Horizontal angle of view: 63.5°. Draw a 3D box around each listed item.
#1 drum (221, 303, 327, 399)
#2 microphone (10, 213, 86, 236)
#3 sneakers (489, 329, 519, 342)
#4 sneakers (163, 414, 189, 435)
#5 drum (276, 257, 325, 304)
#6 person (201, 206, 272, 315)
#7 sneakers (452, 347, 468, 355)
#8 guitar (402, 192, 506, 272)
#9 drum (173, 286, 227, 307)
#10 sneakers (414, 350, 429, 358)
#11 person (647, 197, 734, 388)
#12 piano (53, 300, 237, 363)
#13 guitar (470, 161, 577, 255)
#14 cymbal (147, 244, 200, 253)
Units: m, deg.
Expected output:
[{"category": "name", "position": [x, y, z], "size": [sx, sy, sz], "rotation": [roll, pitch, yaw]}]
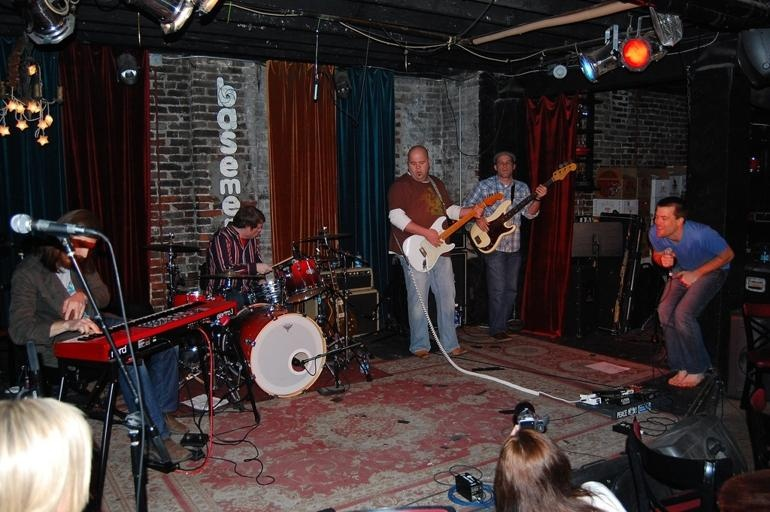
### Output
[{"category": "drum", "position": [-1.082, 0.800, 5.686], "size": [0.691, 0.718, 0.861], "rotation": [-3, 14, -36]}, {"category": "microphone", "position": [-1.780, -0.169, 3.312], "size": [0.329, 0.139, 0.301], "rotation": [-7, 16, -23]}, {"category": "sneakers", "position": [1.376, 0.923, 7.308], "size": [0.139, 0.087, 0.213], "rotation": [0, -4, -40]}, {"category": "sneakers", "position": [-1.692, 1.355, 5.015], "size": [0.250, 0.193, 0.089], "rotation": [6, 32, -2]}, {"category": "drum", "position": [-0.781, 0.222, 5.861], "size": [0.402, 0.327, 0.415], "rotation": [-20, -11, -4]}, {"category": "person", "position": [-1.424, 0.184, 6.171], "size": [0.634, 1.308, 0.569], "rotation": [-4, 16, -26]}, {"category": "sneakers", "position": [0.791, 1.008, 6.703], "size": [0.063, 0.076, 0.192], "rotation": [3, 8, 39]}, {"category": "guitar", "position": [0.733, -0.267, 6.767], "size": [0.945, 0.339, 0.126], "rotation": [-34, 3, -6]}, {"category": "drum", "position": [-1.553, 0.348, 5.121], "size": [0.456, 0.159, 0.337], "rotation": [1, 0, -11]}, {"category": "sneakers", "position": [0.380, 1.044, 6.677], "size": [0.169, 0.058, 0.073], "rotation": [-3, 7, 10]}, {"category": "person", "position": [2.753, 0.333, 5.745], "size": [0.693, 1.724, 0.487], "rotation": [7, 16, 27]}, {"category": "piano", "position": [-1.655, 0.511, 4.399], "size": [0.444, 0.197, 1.143], "rotation": [10, 18, 35]}, {"category": "guitar", "position": [1.425, -0.499, 6.699], "size": [0.201, 0.464, 1.661], "rotation": [-21, -20, -39]}, {"category": "cymbal", "position": [-2.023, -0.078, 5.925], "size": [0.235, 0.057, 0.243], "rotation": [-4, -4, 39]}]
